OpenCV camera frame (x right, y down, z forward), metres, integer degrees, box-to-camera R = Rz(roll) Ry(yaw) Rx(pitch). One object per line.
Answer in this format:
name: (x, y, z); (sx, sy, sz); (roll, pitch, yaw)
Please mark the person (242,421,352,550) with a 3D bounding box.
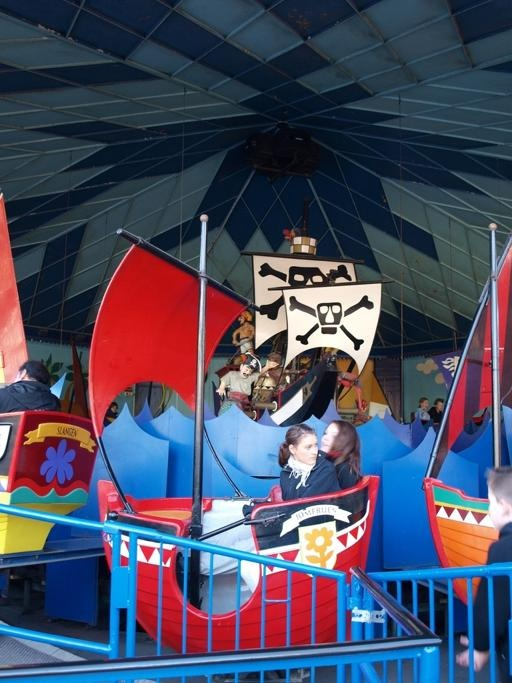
person: (0.319, 0.807, 3.669); (0.752, 0.685, 0.495); (3, -7, -35)
